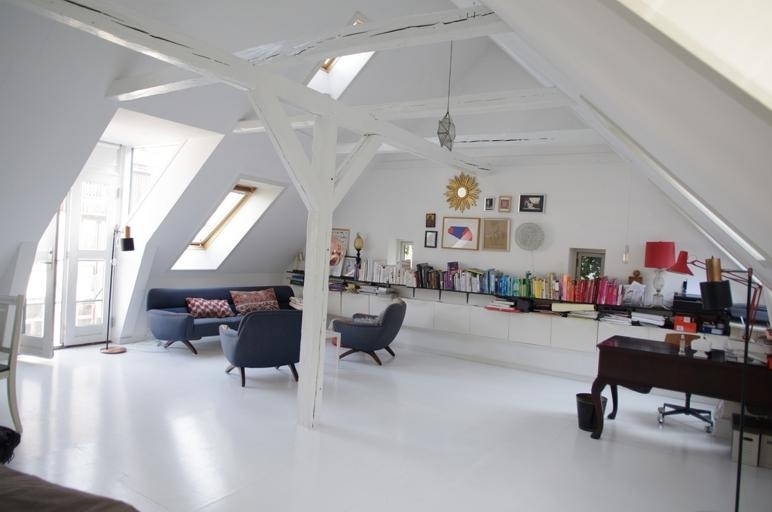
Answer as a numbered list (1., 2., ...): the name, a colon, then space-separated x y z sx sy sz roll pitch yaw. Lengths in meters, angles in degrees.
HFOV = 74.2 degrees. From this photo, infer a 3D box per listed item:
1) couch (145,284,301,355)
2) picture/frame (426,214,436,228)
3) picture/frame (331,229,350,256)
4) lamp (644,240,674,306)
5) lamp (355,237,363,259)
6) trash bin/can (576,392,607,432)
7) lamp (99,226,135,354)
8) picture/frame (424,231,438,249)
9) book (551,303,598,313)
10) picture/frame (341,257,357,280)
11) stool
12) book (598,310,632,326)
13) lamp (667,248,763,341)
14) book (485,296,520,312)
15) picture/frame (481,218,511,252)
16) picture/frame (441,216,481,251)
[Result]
1. couch: -2.437 0.962 8.081 2.860 1.035 0.947 -2 1 23
2. picture/frame: 0.760 -0.606 8.575 0.209 0.275 0.035 7 10 33
3. picture/frame: -0.828 -0.255 9.496 0.471 0.548 0.073 3 0 37
4. lamp: 3.563 0.254 6.659 0.377 0.848 0.375 3 -5 38
5. lamp: -0.481 -0.163 9.222 0.108 0.109 0.365 -18 -21 -8
6. trash bin/can: 2.219 1.756 5.665 0.273 0.284 0.281 8 -18 -13
7. lamp: -4.042 0.501 7.749 0.571 1.879 0.411 -3 -7 11
8. picture/frame: 0.766 -0.290 8.576 0.260 0.333 0.034 8 11 33
9. book: 2.664 0.744 7.277 0.568 0.180 0.064 5 8 16
10. picture/frame: -0.665 0.207 9.305 0.369 0.344 0.086 2 -6 44
11. stool: 3.604 1.459 6.107 0.794 1.064 0.759 13 -13 24
12. book: 3.152 0.867 6.993 0.405 0.130 0.142 7 9 29
13. lamp: 2.368 0.334 3.707 0.642 0.732 0.234 3 -8 3
14. book: 1.771 0.744 7.719 0.525 0.189 0.171 9 10 36
15. picture/frame: 1.757 -0.342 8.044 0.508 0.626 0.045 4 1 36
16. picture/frame: 1.253 -0.381 8.311 0.550 0.466 0.042 3 -1 28
